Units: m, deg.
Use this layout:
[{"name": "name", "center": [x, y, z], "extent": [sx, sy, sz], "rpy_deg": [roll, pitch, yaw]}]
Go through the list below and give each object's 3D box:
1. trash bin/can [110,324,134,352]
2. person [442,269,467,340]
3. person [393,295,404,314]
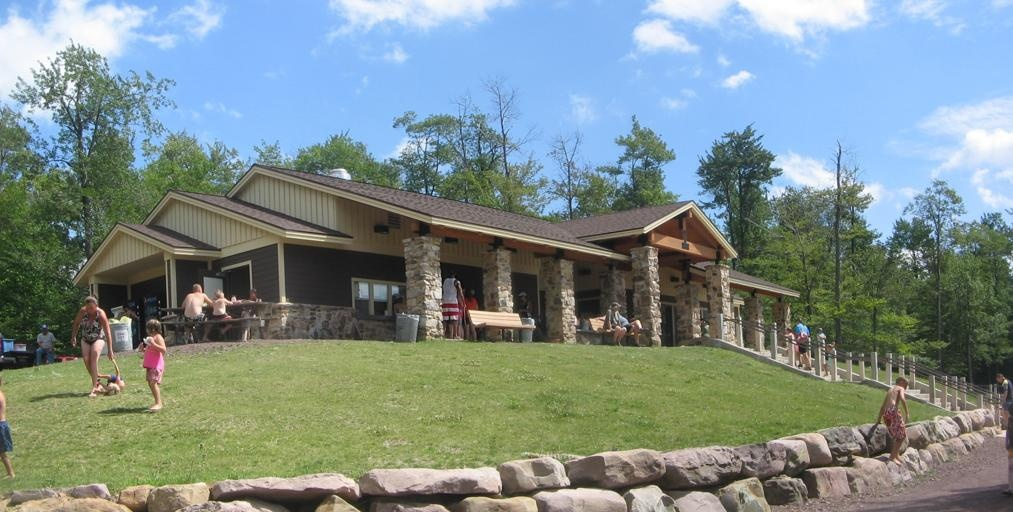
[{"name": "trash bin/can", "center": [-18.870, 4.052, 38.765], "extent": [1.362, 1.722, 1.316], "rpy_deg": [2, -10, -34]}, {"name": "person", "center": [-2.650, 2.636, 39.813], "extent": [1.181, 3.125, 0.739], "rpy_deg": [0, -10, -8]}, {"name": "person", "center": [-5.717, 2.627, 42.264], "extent": [0.780, 0.900, 0.868], "rpy_deg": [7, -14, -35]}]
